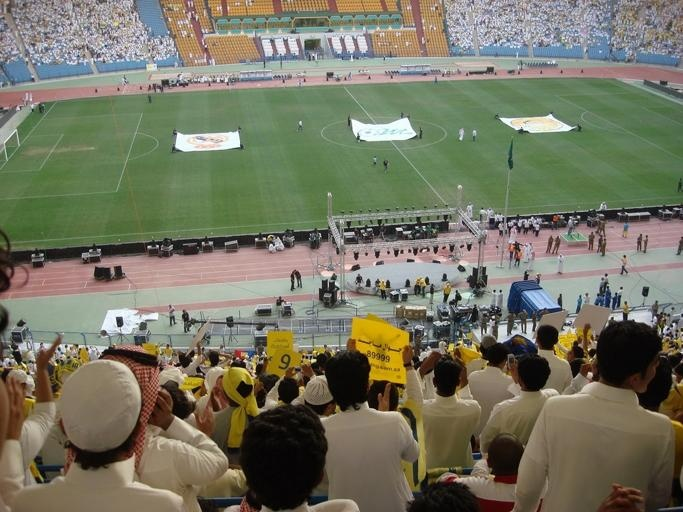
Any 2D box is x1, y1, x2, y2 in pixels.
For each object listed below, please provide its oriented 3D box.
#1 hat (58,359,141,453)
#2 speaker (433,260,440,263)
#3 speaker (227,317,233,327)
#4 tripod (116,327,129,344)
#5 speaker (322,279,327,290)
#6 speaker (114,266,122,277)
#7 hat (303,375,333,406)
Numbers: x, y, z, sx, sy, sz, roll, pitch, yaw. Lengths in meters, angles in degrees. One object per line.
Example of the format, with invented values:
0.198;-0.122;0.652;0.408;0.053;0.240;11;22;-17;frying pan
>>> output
-2.279;1.398;5.735;0.676;0.886;0.268;-7;-5;-11;hat
6.176;0.318;39.728;0.328;0.170;0.217;-5;23;10;speaker
-5.652;3.303;30.776;0.500;0.483;0.452;0;9;-10;speaker
-11.374;4.132;31.517;0.642;0.733;0.689;3;34;-11;tripod
-0.987;1.649;34.658;0.352;0.499;0.549;-1;7;-3;speaker
-14.048;0.970;38.183;0.504;0.752;0.521;-3;7;-15;speaker
-0.354;2.007;8.944;0.433;0.240;0.550;2;18;4;hat
